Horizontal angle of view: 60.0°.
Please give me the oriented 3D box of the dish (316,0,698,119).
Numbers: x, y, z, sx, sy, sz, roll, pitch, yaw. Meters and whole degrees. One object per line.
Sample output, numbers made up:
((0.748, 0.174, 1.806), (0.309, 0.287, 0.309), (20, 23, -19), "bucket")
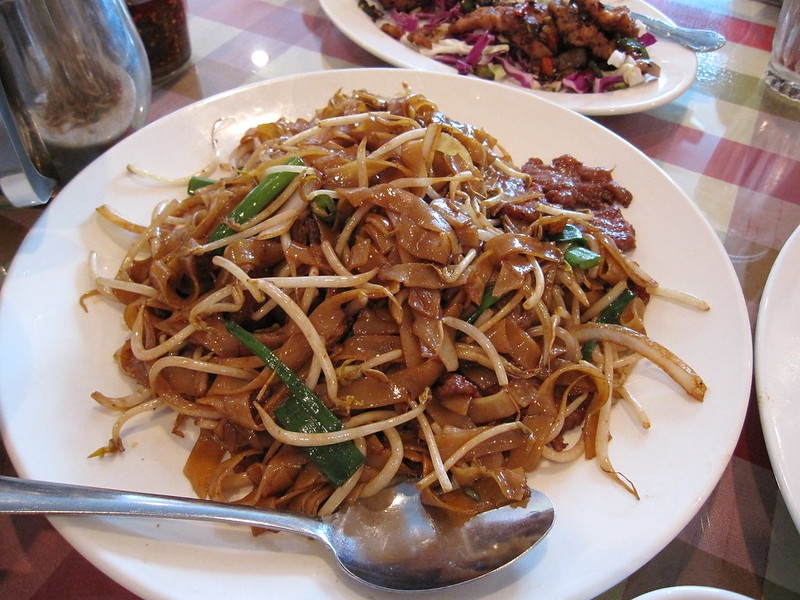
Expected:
((0.501, -1.103, 3.224), (0.746, 0.110, 0.748), (29, 49, 19), "dish")

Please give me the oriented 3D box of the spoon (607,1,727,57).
((1.254, -1.433, 3.622), (0.176, 0.050, 0.974), (-48, 48, 0), "spoon")

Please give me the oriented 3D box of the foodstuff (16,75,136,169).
((-1.233, -0.698, 2.770), (0.348, 0.359, 0.342), (-32, 74, -28), "foodstuff")
